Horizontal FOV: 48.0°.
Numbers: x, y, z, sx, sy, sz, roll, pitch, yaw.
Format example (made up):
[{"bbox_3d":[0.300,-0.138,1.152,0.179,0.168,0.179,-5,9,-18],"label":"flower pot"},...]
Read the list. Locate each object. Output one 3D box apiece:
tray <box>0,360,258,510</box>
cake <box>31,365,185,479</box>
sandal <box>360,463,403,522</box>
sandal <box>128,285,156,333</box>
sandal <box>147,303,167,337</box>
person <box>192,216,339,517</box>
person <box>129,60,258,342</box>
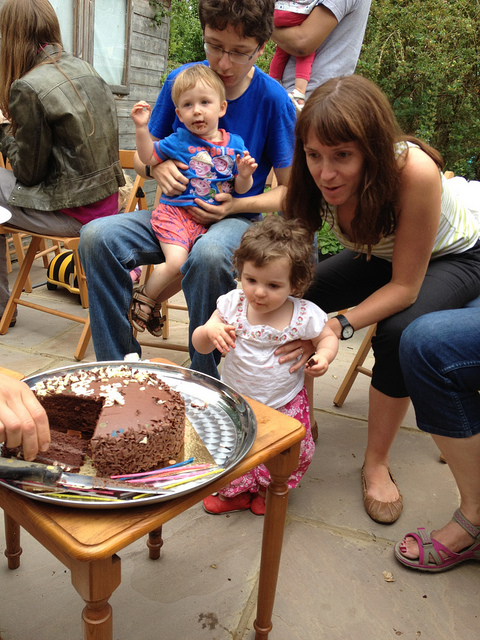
[{"bbox_3d":[-0.139,0.244,1.191,0.335,0.023,0.321,-12,28,-41],"label":"tray"},{"bbox_3d":[-0.285,0.209,1.224,0.292,0.093,0.293,28,29,32],"label":"cake"},{"bbox_3d":[0.568,0.678,2.146,0.150,0.059,0.391,1,16,5],"label":"sandal"},{"bbox_3d":[-0.458,-0.062,2.524,0.087,0.104,0.253,21,42,-50],"label":"sandal"},{"bbox_3d":[-0.421,-0.008,2.679,0.075,0.073,0.186,6,48,-24],"label":"sandal"},{"bbox_3d":[0.070,0.208,1.882,0.509,0.993,0.412,5,13,1],"label":"person"},{"bbox_3d":[-0.201,-0.517,2.468,0.583,1.093,0.695,18,35,20],"label":"person"}]
